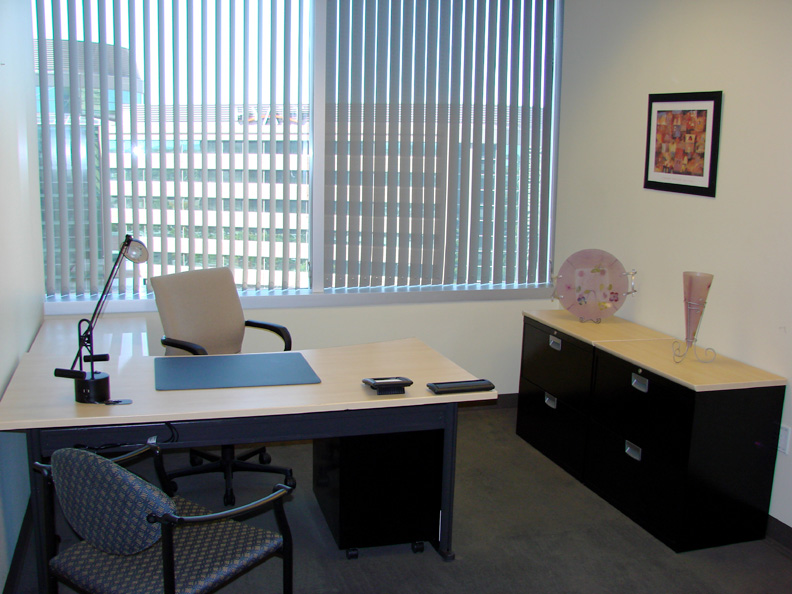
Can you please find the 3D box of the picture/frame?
[{"bbox_3d":[1.769,-0.961,4.074,0.020,0.597,0.541,-13,20,-25],"label":"picture/frame"}]

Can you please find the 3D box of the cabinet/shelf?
[{"bbox_3d":[1.477,0.754,3.989,0.609,0.920,1.436,-6,15,-29],"label":"cabinet/shelf"}]
